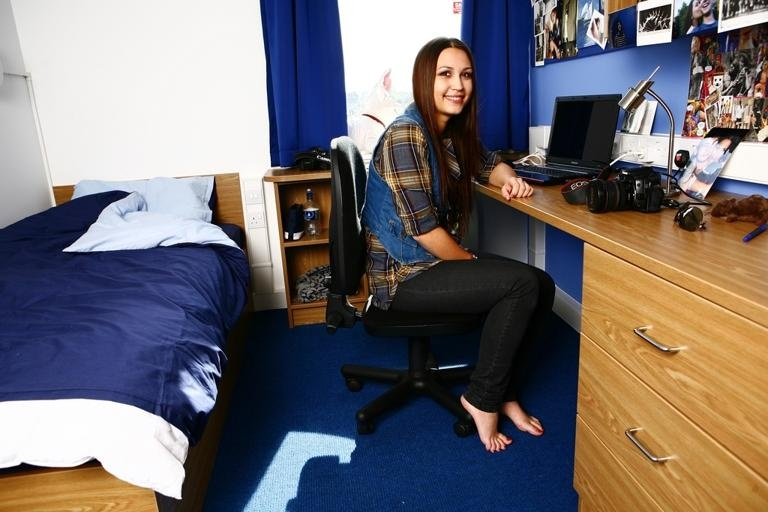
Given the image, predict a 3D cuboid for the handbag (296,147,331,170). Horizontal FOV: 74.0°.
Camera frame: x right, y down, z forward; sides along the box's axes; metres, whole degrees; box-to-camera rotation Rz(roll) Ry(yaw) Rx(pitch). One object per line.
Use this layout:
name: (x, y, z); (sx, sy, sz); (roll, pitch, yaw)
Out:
handbag: (-0.444, -0.614, 3.220); (0.261, 0.140, 0.191); (-3, 21, -4)

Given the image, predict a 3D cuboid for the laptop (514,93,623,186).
laptop: (1.060, -0.592, 2.697); (0.417, 0.511, 0.573); (-4, 13, -30)

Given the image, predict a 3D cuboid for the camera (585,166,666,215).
camera: (0.905, -0.239, 1.908); (0.204, 0.132, 0.192); (-3, 15, -5)

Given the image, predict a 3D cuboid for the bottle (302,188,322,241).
bottle: (-0.479, -0.284, 3.366); (0.117, 0.276, 0.250); (-4, 23, -7)

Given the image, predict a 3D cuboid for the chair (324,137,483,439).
chair: (0.144, 0.107, 2.495); (0.868, 1.295, 0.788); (1, 13, 9)
